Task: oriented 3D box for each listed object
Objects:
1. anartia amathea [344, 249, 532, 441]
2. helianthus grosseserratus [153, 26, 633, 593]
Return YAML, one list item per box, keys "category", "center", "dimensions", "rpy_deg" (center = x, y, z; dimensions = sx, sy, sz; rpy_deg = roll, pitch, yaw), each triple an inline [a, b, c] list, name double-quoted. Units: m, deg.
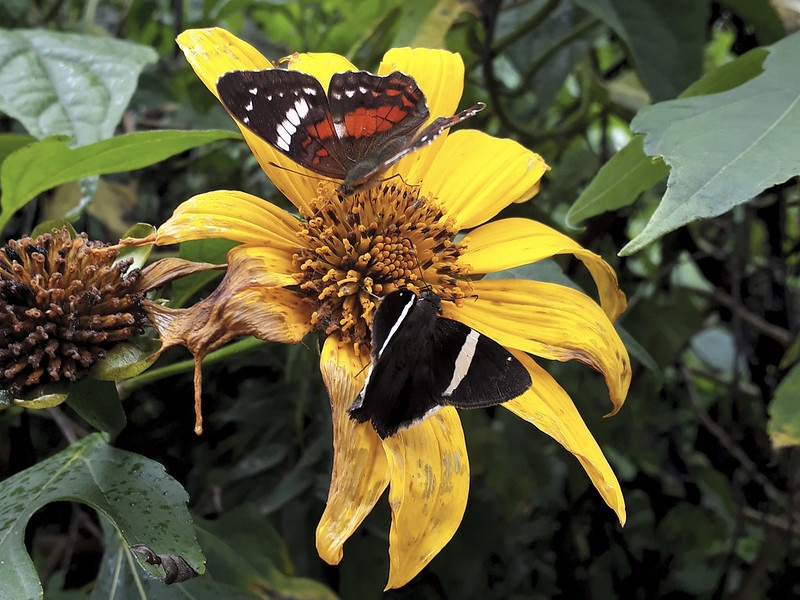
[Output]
- category: "anartia amathea"
  center: [0.037, 0.112, 1.342]
  dimensions: [0.261, 0.287, 0.150]
  rpy_deg: [-39, 74, -6]
- category: "helianthus grosseserratus"
  center: [-0.048, 0.022, 1.550]
  dimensions: [1.038, 0.373, 1.001]
  rpy_deg: [10, 58, -14]
